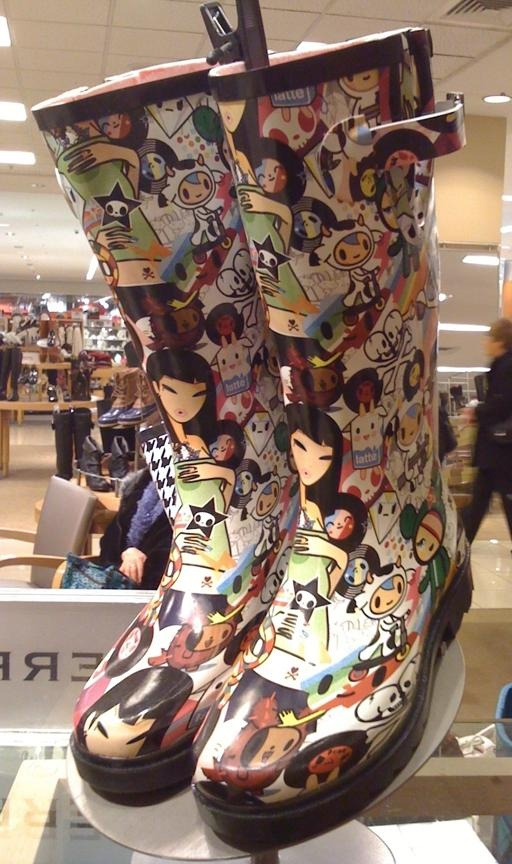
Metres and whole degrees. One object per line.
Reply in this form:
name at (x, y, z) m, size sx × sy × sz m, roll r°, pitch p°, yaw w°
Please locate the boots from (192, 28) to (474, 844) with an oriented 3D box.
boots at (0.045, -0.005, 0.305) m, size 0.110 × 0.327 × 0.199 m, roll 0°, pitch 4°, yaw 20°
